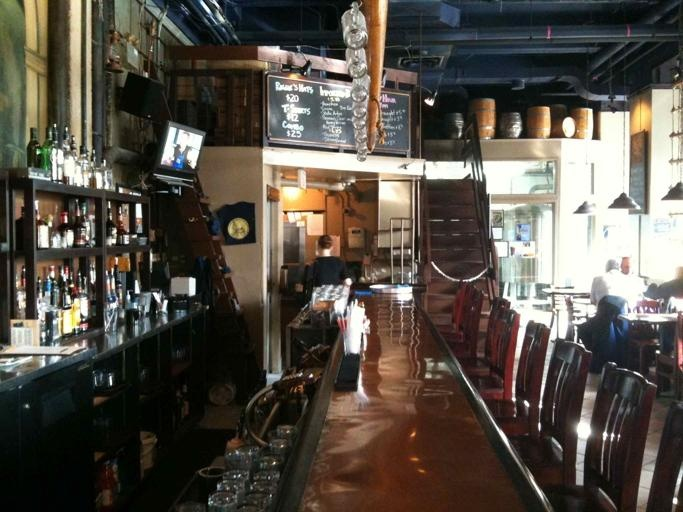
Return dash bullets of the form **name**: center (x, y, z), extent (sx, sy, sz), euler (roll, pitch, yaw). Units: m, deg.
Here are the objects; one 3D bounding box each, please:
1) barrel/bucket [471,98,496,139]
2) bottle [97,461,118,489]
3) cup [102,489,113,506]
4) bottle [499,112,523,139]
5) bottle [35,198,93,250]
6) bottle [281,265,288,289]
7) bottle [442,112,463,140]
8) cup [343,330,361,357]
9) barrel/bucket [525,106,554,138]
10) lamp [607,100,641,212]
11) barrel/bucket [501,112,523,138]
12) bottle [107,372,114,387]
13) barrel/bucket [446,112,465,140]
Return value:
- **barrel/bucket**: center (2.564, -2.486, 11.776), extent (0.438, 0.756, 0.380), euler (0, 4, 1)
- **bottle**: center (-1.817, 1.699, 5.085), extent (0.069, 0.244, 0.229), euler (1, 4, 12)
- **cup**: center (-1.788, 1.835, 4.978), extent (0.070, 0.117, 0.111), euler (2, 1, 0)
- **bottle**: center (3.046, -2.336, 11.916), extent (0.427, 0.556, 0.451), euler (0, 0, 0)
- **bottle**: center (-2.264, -0.255, 5.287), extent (0.215, 0.422, 0.423), euler (0, -1, 25)
- **bottle**: center (-0.787, 0.289, 8.942), extent (0.095, 0.283, 0.306), euler (1, -1, 2)
- **bottle**: center (2.048, -2.359, 11.961), extent (0.385, 0.494, 0.404), euler (-1, 0, 0)
- **cup**: center (0.068, 0.559, 4.194), extent (0.118, 0.149, 0.129), euler (0, 2, 0)
- **barrel/bucket**: center (3.555, -2.373, 11.790), extent (0.487, 0.739, 0.484), euler (-1, 3, 0)
- **lamp**: center (4.610, -1.628, 10.515), extent (0.451, 1.842, 3.247), euler (2, 4, 24)
- **barrel/bucket**: center (3.074, -2.324, 11.882), extent (0.427, 0.529, 0.415), euler (0, 2, 0)
- **bottle**: center (-1.869, 0.989, 5.280), extent (0.020, 0.084, 0.058), euler (-5, -7, 27)
- **barrel/bucket**: center (2.060, -2.375, 11.894), extent (0.377, 0.533, 0.402), euler (-1, 0, 0)
